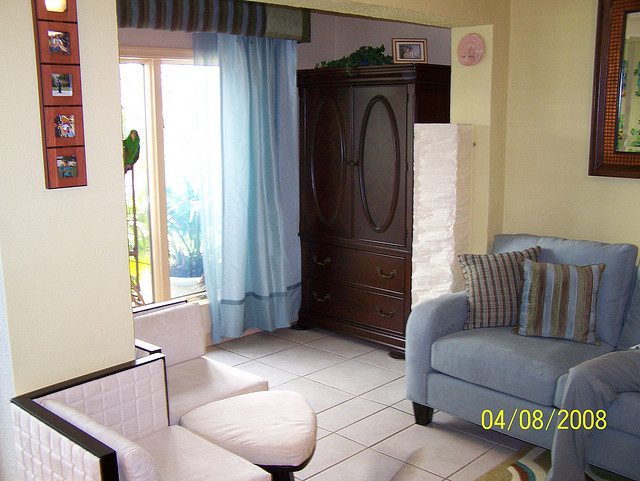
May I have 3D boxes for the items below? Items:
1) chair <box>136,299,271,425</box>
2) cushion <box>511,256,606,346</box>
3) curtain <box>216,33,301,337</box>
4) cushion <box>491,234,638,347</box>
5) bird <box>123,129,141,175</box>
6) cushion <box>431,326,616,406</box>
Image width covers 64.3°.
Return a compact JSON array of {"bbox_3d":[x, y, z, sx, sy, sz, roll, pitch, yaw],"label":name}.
[{"bbox_3d":[-0.730,0.695,2.992,0.611,0.578,0.619,12,18,42],"label":"chair"},{"bbox_3d":[1.513,0.397,3.186,0.490,0.492,0.171,3,-10,24],"label":"cushion"},{"bbox_3d":[-0.523,-0.475,4.624,0.374,2.631,0.998,10,16,40],"label":"curtain"},{"bbox_3d":[1.890,0.412,3.549,0.725,0.755,0.231,7,-7,31],"label":"cushion"},{"bbox_3d":[-1.527,-0.708,4.112,0.125,0.354,0.308,-5,13,-20],"label":"bird"},{"bbox_3d":[1.201,0.725,3.135,0.938,0.240,0.587,7,14,32],"label":"cushion"}]
